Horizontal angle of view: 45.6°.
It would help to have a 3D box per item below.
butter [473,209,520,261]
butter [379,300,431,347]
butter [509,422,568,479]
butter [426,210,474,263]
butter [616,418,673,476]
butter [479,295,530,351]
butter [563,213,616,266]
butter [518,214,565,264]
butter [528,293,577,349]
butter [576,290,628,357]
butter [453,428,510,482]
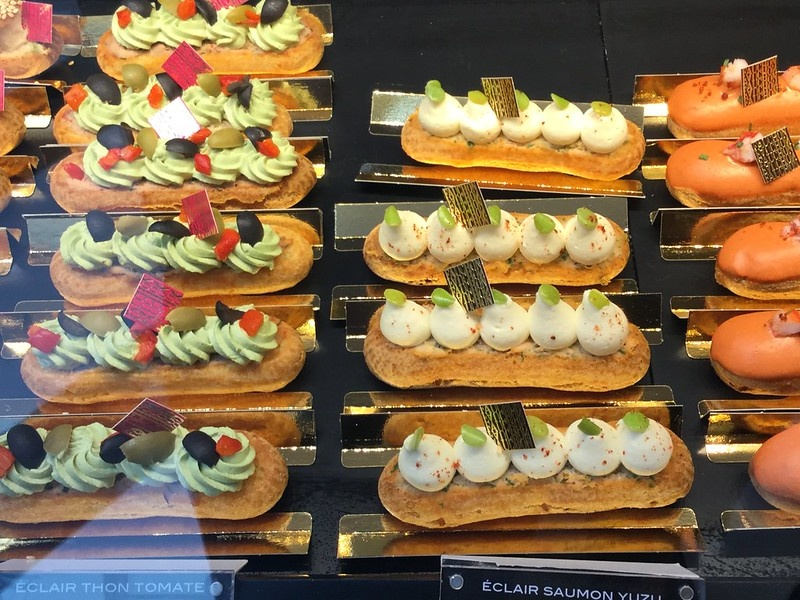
[{"bbox_3d":[0.387,-0.258,3.762,0.199,0.200,0.079,10,0,-15],"label":"butter"},{"bbox_3d":[0.024,0.084,3.585,0.186,0.168,0.110,-8,40,0],"label":"butter"},{"bbox_3d":[0.508,0.546,3.372,0.199,0.191,0.205,6,64,13],"label":"butter"},{"bbox_3d":[0.189,-0.238,3.716,0.179,0.200,0.073,-7,21,22],"label":"butter"},{"bbox_3d":[0.867,0.521,3.385,0.201,0.167,0.142,5,42,15],"label":"butter"},{"bbox_3d":[0.389,0.087,3.558,0.117,0.161,0.121,9,58,26],"label":"butter"},{"bbox_3d":[0.725,-0.234,3.736,0.196,0.176,0.201,-11,73,4],"label":"butter"},{"bbox_3d":[0.560,-0.264,3.738,0.175,0.217,0.145,-3,40,6],"label":"butter"},{"bbox_3d":[0.563,0.072,3.538,0.193,0.210,0.198,-8,53,10],"label":"butter"},{"bbox_3d":[0.749,0.093,3.548,0.129,0.179,0.134,23,60,36],"label":"butter"},{"bbox_3d":[0.288,0.533,3.357,0.196,0.207,0.120,-4,40,5],"label":"butter"}]
